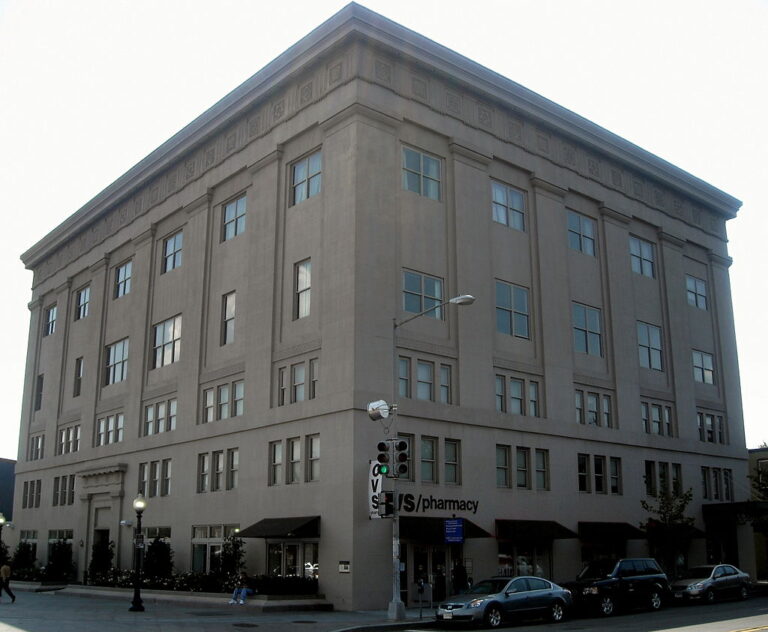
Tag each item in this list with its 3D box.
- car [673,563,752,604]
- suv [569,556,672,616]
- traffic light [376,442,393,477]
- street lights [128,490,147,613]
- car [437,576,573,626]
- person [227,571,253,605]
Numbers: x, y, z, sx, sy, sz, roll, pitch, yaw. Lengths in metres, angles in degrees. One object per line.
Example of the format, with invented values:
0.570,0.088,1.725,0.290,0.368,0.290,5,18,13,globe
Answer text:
15.009,12.343,33.862,4.581,1.629,1.144,13,-26,-31,car
9.717,11.275,30.602,5.392,2.330,2.089,19,-30,-40,suv
0.025,5.147,26.547,0.421,1.187,0.903,-11,-24,22,traffic light
-10.343,9.991,30.686,0.888,4.807,0.971,-1,-17,-6,street lights
4.238,9.941,25.488,5.115,1.671,1.040,11,-25,-29,car
-6.245,11.842,31.621,0.806,1.600,1.586,-4,-16,7,person
